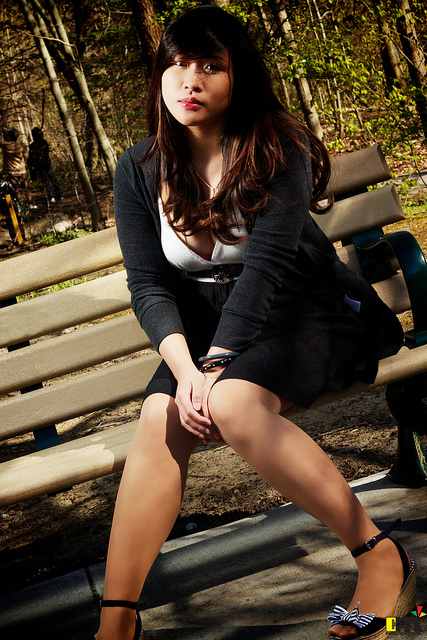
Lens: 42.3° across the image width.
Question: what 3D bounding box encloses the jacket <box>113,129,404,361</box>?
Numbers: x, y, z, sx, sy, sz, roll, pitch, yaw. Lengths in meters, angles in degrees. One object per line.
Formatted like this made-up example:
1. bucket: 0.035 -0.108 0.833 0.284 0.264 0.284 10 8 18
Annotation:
1. jacket: 0.109 -0.193 1.548 0.789 0.472 0.290 -15 28 5

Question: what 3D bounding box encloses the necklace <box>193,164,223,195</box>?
1. necklace: -0.013 -0.375 1.508 0.021 0.022 0.132 12 25 -26
